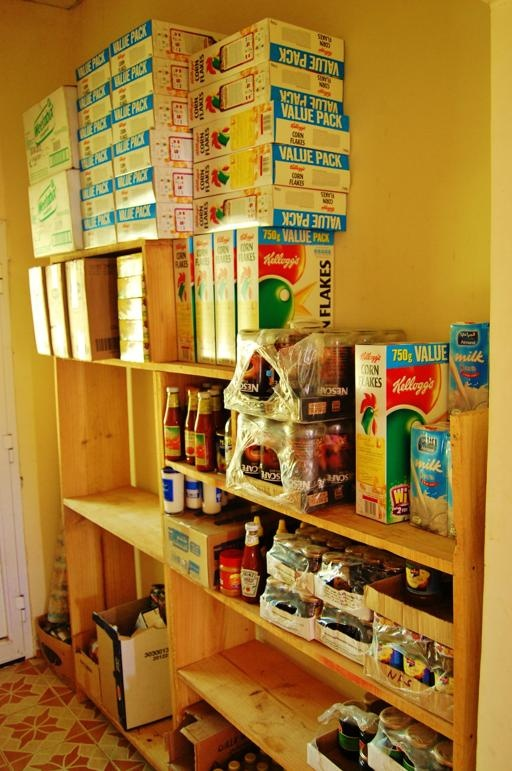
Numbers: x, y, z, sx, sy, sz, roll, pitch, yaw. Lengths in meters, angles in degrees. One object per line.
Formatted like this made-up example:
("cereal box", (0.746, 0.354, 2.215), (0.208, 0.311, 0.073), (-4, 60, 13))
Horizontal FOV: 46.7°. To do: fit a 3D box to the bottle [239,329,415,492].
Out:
("bottle", (0.139, 0.016, 1.384), (0.328, 0.343, 0.315), (-4, 9, -33))
